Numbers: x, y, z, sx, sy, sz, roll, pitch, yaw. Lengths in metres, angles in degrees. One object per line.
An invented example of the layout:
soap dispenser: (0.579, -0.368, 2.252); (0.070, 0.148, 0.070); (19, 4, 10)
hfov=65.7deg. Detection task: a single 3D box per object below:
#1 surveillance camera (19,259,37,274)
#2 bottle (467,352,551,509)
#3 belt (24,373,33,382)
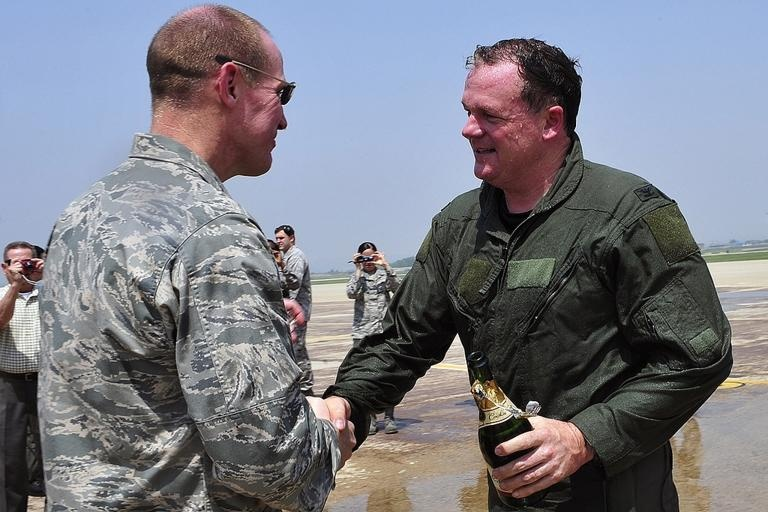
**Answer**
surveillance camera: (-3.263, 0.101, 5.476); (0.099, 0.118, 0.054); (7, -3, -34)
bottle: (0.480, 0.599, 2.339); (0.263, 0.460, 0.234); (-5, -6, 6)
belt: (-3.202, 1.089, 5.371); (0.067, 0.043, 0.021); (1, 13, -12)
